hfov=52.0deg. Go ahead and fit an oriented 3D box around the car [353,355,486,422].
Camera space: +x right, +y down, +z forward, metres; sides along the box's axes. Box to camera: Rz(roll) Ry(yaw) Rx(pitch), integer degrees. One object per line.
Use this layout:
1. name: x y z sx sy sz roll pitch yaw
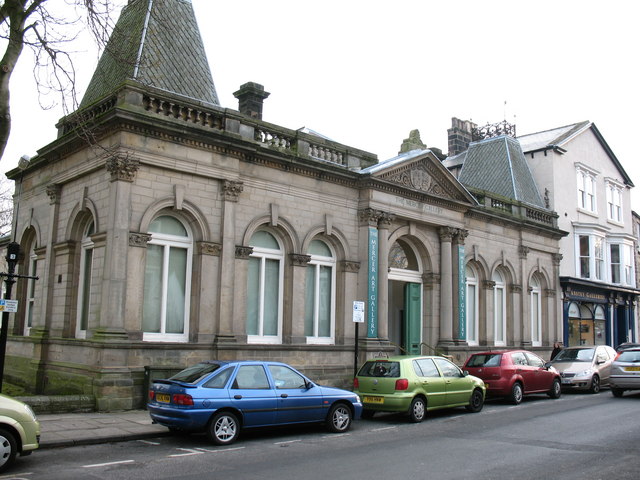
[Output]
1. car: 3.424 4.843 21.182 4.807 2.022 1.666 9 -17 -33
